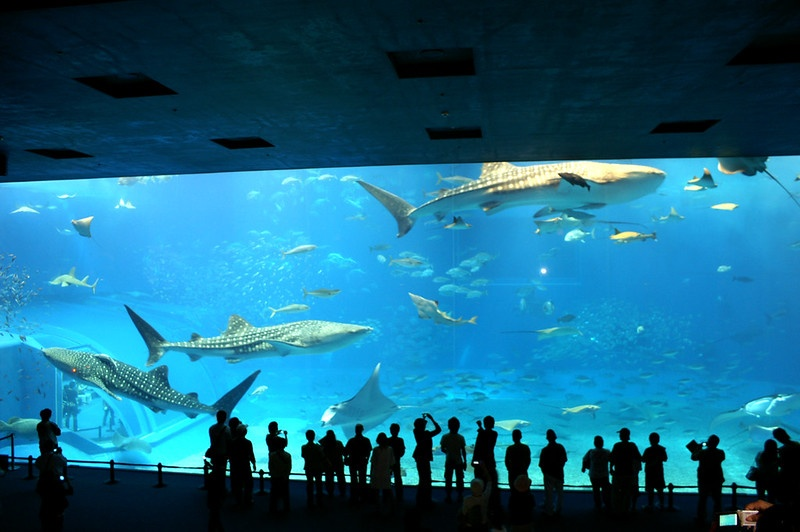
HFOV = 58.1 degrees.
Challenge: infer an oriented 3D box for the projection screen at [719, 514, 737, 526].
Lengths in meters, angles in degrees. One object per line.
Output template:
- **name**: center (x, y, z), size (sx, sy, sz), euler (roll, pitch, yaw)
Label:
- **projection screen**: center (11.576, 8.994, 25.387), size (0.760, 0.255, 0.282), euler (-1, -20, 9)

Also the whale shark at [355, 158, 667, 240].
- **whale shark**: center (5.838, -3.261, 31.028), size (18.156, 2.412, 3.474), euler (-3, -27, 3)
